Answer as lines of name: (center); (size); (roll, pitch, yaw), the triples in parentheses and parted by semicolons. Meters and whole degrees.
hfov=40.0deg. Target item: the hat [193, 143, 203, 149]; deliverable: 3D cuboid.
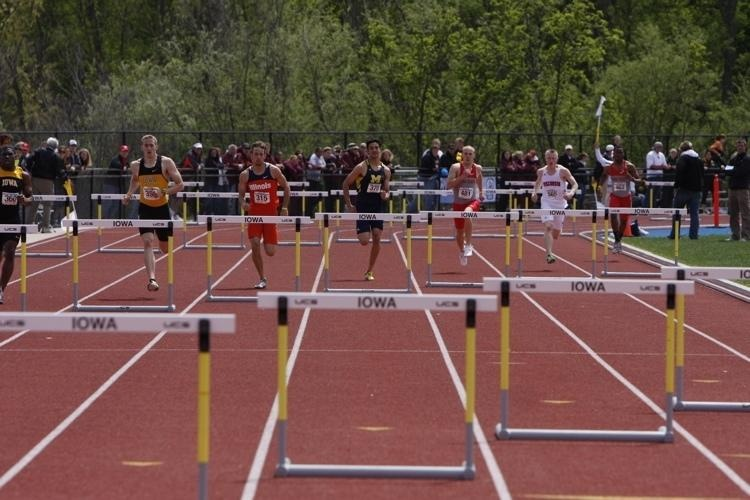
hat: (-5.486, -3.222, 31.750); (0.246, 0.161, 0.413); (1, 4, -15)

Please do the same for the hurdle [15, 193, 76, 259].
hurdle: (-7.590, -0.528, 23.591); (1.040, 0.819, 1.572); (0, 3, 11)

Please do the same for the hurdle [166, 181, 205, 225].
hurdle: (-5.129, -1.263, 28.527); (0.876, 0.950, 0.795); (1, -25, -16)

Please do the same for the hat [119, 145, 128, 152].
hat: (-7.703, -3.122, 31.523); (0.248, 0.198, 0.375); (1, 6, -19)

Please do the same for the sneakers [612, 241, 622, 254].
sneakers: (5.682, -0.058, 24.127); (0.139, 0.202, 0.443); (-1, -2, 14)

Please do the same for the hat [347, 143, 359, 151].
hat: (-0.760, -3.396, 33.656); (0.284, 0.148, 0.426); (-2, 5, -12)
